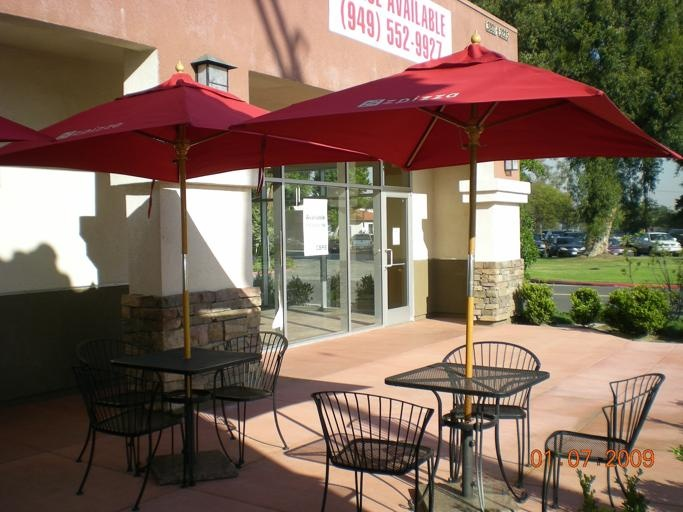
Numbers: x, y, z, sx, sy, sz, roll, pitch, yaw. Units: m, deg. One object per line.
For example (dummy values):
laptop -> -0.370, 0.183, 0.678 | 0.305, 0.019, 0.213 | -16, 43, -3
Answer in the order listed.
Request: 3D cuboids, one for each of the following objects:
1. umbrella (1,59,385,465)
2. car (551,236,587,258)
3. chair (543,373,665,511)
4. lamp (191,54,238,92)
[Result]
umbrella -> -1.845, 0.025, 6.594 | 2.955, 2.521, 3.144 | -4, -2, 19
car -> 12.966, -0.556, 37.297 | 0.921, 0.744, 2.065 | -2, -5, 4
chair -> 2.450, 1.744, 6.007 | 0.998, 1.499, 1.001 | 2, 1, 18
lamp -> -1.525, -2.106, 7.960 | 0.456, 0.643, 0.530 | 5, 7, 29
